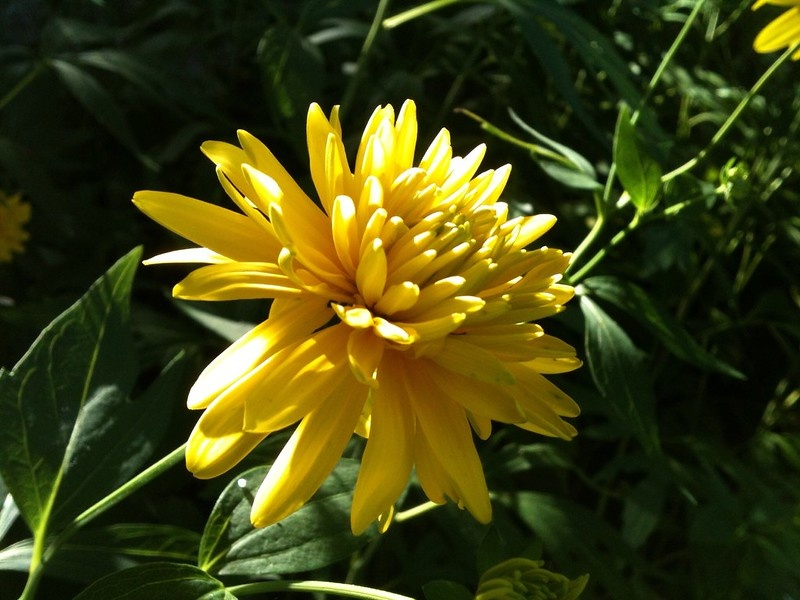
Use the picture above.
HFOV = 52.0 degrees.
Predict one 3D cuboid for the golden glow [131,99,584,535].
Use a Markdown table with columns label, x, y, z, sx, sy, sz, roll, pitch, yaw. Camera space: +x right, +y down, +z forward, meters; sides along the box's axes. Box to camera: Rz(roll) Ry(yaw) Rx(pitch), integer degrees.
| label | x | y | z | sx | sy | sz | roll | pitch | yaw |
| --- | --- | --- | --- | --- | --- | --- | --- | --- | --- |
| golden glow | -0.008 | 0.027 | 0.821 | 0.425 | 0.200 | 0.401 | 15 | 17 | 8 |
